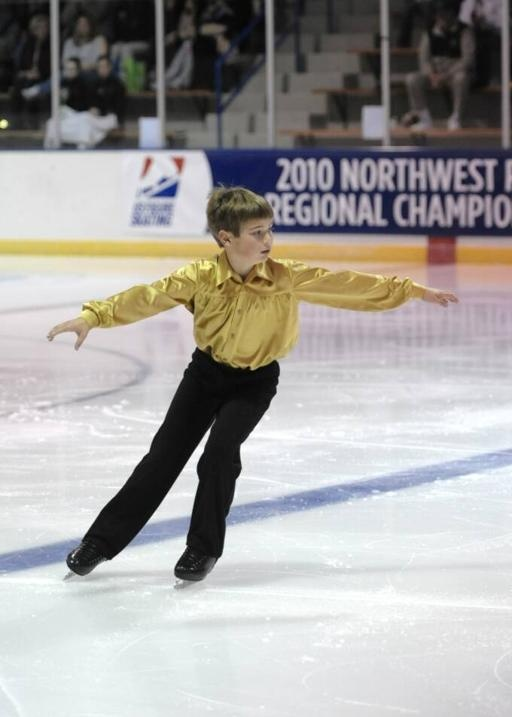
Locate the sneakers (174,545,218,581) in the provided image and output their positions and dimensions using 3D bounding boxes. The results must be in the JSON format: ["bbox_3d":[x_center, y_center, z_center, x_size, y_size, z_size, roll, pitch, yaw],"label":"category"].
[{"bbox_3d":[-0.143,0.487,1.956,0.050,0.052,0.130,30,-1,16],"label":"sneakers"}]

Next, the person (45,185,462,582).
[{"bbox_3d":[-0.049,0.061,1.990,0.821,0.931,0.306,-5,13,-26],"label":"person"}]
